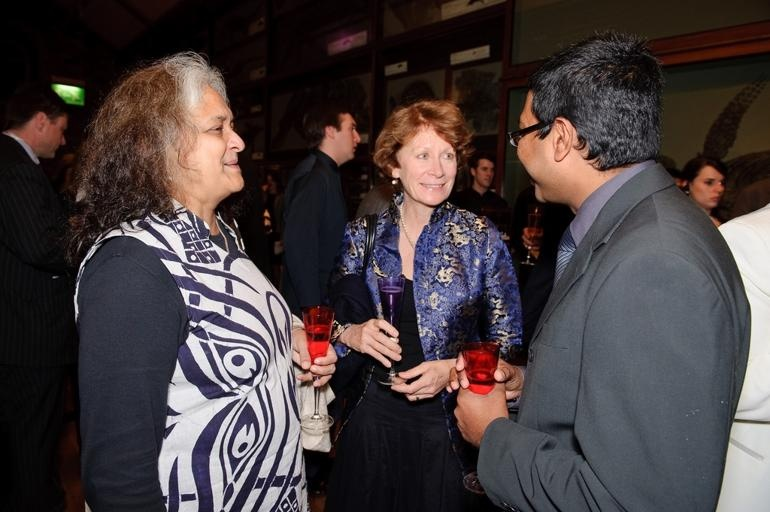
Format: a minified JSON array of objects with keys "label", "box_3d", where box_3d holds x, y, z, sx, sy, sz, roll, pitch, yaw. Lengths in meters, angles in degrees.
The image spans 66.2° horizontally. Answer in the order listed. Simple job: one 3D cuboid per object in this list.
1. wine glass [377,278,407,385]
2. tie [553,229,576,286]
[{"label":"wine glass","box_3d":[0.028,0.332,2.704,0.104,0.480,0.232,0,-5,-1]},{"label":"tie","box_3d":[0.722,0.002,2.379,0.072,0.188,0.151,17,10,22]}]
